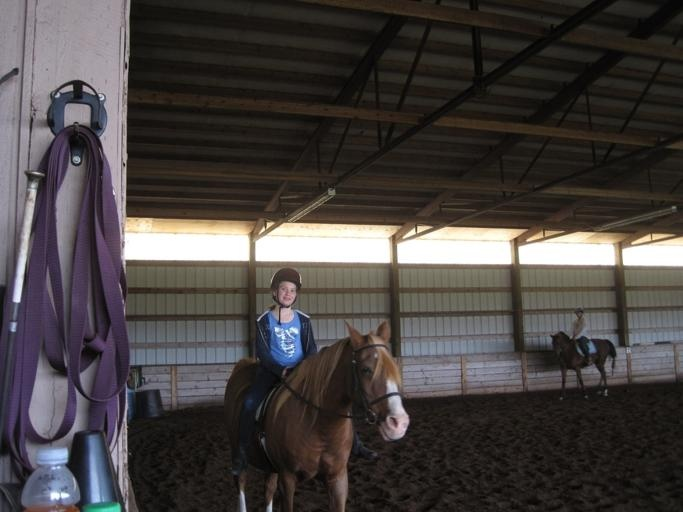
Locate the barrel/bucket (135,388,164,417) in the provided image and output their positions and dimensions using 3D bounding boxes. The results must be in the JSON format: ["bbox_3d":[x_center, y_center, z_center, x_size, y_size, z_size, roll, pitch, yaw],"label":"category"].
[{"bbox_3d":[-2.772,2.146,9.179,0.432,0.333,0.443,-1,-12,0],"label":"barrel/bucket"}]

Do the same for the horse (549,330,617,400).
[{"bbox_3d":[5.012,2.203,13.152,1.153,1.223,2.165,-6,-7,23],"label":"horse"}]

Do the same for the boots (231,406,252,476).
[{"bbox_3d":[-0.758,1.439,4.944,0.138,0.534,0.174,-2,-17,23],"label":"boots"}]

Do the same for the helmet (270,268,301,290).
[{"bbox_3d":[-0.433,0.176,5.013,0.153,0.185,0.201,9,-26,-25],"label":"helmet"}]
